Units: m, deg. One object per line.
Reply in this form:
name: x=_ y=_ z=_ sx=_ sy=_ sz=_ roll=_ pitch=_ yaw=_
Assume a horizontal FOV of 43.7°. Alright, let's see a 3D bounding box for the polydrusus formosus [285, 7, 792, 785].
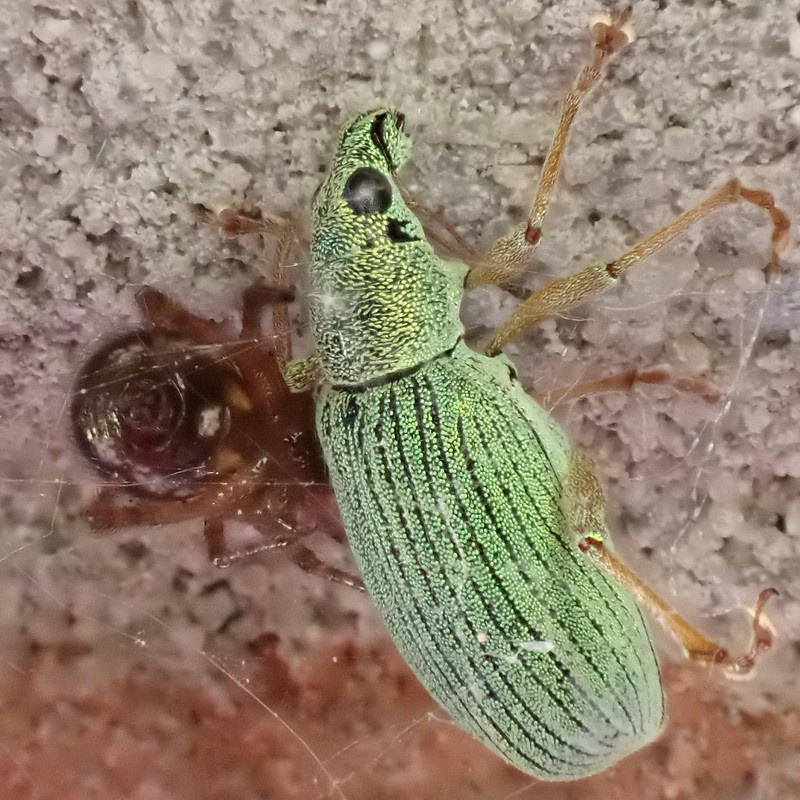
polydrusus formosus: x=0.149 y=-0.010 z=2.589 sx=1.631 sy=0.656 sz=1.803 roll=-23 pitch=79 yaw=38
